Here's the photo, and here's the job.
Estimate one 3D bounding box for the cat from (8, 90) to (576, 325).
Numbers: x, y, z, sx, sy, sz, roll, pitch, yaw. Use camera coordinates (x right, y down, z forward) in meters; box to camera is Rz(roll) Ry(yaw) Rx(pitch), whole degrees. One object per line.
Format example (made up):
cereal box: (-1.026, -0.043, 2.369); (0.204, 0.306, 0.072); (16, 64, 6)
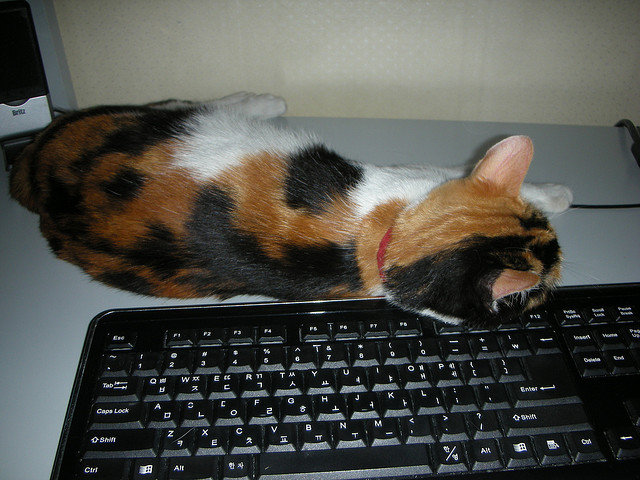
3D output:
cat: (-0.070, -0.034, 1.133); (1.045, 0.340, 0.329); (6, 77, -2)
